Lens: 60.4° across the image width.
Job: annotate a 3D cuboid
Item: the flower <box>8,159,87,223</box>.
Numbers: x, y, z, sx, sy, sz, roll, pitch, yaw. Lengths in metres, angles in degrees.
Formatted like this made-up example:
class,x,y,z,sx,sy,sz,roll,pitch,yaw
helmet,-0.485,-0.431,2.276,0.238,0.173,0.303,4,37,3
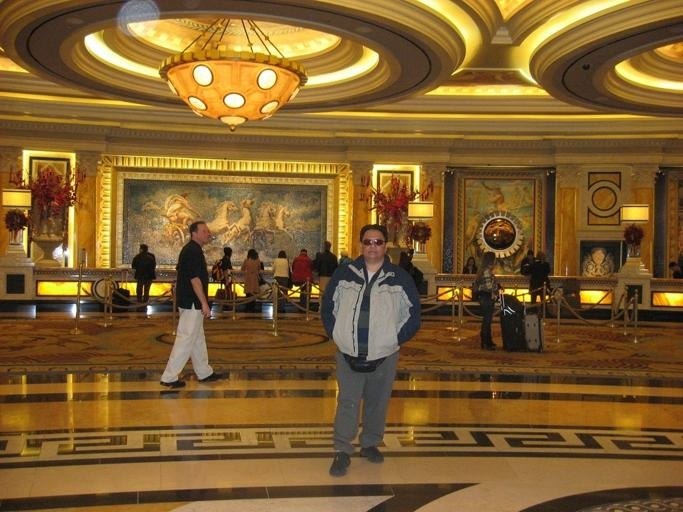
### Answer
class,x,y,z,sx,sy,sz,roll,pitch,yaw
flower,-7.237,-1.574,14.681,1.411,1.016,1.194,-7,-4,29

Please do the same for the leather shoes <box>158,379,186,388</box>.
class,x,y,z,sx,sy,sz,roll,pitch,yaw
leather shoes,-1.845,1.370,6.369,0.292,0.109,0.097,0,6,-22

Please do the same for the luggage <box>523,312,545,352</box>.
class,x,y,z,sx,sy,sz,roll,pitch,yaw
luggage,2.980,1.189,9.078,0.311,0.493,0.212,3,1,10

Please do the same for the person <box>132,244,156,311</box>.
class,x,y,z,sx,sy,sz,roll,pitch,yaw
person,-4.711,0.454,13.953,0.526,1.455,0.962,2,1,-17

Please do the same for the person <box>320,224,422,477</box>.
class,x,y,z,sx,sy,sz,roll,pitch,yaw
person,0.187,0.665,4.277,0.698,1.254,0.330,2,1,-9

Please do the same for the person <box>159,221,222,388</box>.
class,x,y,z,sx,sy,sz,roll,pitch,yaw
person,-1.644,0.531,6.288,0.515,1.800,0.472,2,1,-12

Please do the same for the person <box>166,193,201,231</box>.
class,x,y,z,sx,sy,sz,roll,pitch,yaw
person,-4.550,-1.274,16.448,1.220,0.920,0.469,-8,14,-44

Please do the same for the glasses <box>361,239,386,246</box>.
class,x,y,z,sx,sy,sz,roll,pitch,yaw
glasses,0.222,-0.098,4.164,0.141,0.031,0.047,2,2,-3
